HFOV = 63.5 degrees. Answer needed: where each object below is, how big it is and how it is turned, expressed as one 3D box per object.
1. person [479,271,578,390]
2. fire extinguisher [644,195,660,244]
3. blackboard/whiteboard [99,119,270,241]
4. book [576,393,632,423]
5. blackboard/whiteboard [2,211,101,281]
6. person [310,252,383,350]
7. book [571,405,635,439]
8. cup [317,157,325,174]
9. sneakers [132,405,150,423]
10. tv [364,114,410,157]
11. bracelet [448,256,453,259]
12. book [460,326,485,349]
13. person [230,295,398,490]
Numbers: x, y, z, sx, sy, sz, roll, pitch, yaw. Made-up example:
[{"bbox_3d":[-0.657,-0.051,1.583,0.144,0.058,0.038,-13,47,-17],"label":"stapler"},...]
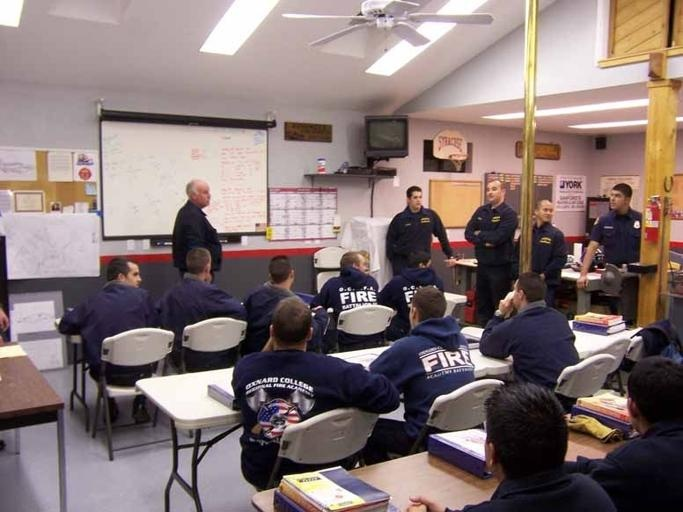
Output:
[{"bbox_3d":[1.290,0.737,3.799,0.602,1.172,0.686,-4,0,14],"label":"person"},{"bbox_3d":[3.241,-0.386,5.764,0.154,0.473,0.072,5,11,25],"label":"fire extinguisher"},{"bbox_3d":[-1.926,-0.914,6.472,1.481,0.962,0.037,-2,3,-31],"label":"blackboard/whiteboard"},{"bbox_3d":[1.371,0.756,2.813,0.172,0.044,0.175,-7,11,-32],"label":"book"},{"bbox_3d":[-3.069,-0.120,5.762,0.682,0.515,0.093,-3,7,-29],"label":"blackboard/whiteboard"},{"bbox_3d":[0.039,0.425,5.156,0.681,0.550,1.487,-3,-33,-4],"label":"person"},{"bbox_3d":[1.272,0.806,2.673,0.235,0.059,0.239,-3,8,-34],"label":"book"},{"bbox_3d":[-0.282,-1.229,7.505,0.129,0.211,0.249,0,10,-3],"label":"cup"},{"bbox_3d":[-1.710,1.342,4.690,0.089,0.152,0.130,6,7,45],"label":"sneakers"},{"bbox_3d":[0.602,-1.616,7.700,0.659,0.652,0.483,0,2,-3],"label":"tv"},{"bbox_3d":[1.494,0.025,7.568,0.065,0.049,0.068,-1,7,2],"label":"bracelet"},{"bbox_3d":[1.013,0.621,4.290,0.212,0.053,0.207,-3,8,-24],"label":"book"},{"bbox_3d":[-0.160,0.717,2.804,0.773,0.995,0.263,-2,10,-12],"label":"person"}]
